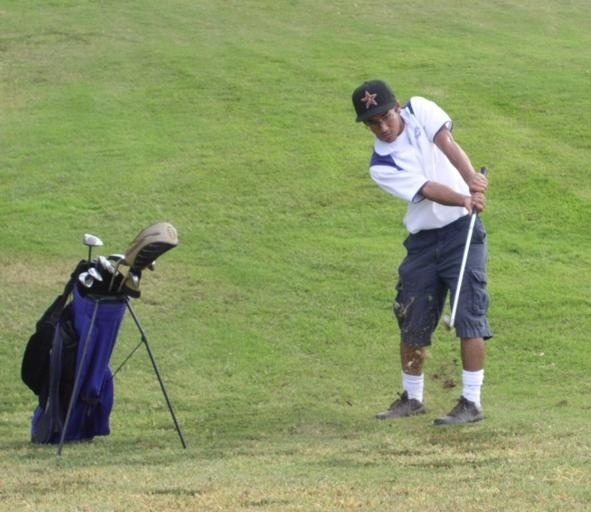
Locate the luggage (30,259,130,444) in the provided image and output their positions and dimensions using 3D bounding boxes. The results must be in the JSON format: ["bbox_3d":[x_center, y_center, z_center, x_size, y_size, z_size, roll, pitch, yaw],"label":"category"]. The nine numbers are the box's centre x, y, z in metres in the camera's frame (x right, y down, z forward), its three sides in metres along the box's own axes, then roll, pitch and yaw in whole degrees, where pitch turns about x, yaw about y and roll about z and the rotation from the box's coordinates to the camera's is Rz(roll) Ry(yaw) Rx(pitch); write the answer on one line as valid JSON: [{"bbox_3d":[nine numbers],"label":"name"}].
[{"bbox_3d":[-2.285,1.043,17.861,0.999,1.687,0.830,10,5,-41],"label":"luggage"}]

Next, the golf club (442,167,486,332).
[{"bbox_3d":[1.753,-0.070,17.269,0.203,1.723,0.228,19,-13,-6],"label":"golf club"}]

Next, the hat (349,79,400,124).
[{"bbox_3d":[0.816,-1.583,17.281,0.366,0.280,0.487,-20,23,26],"label":"hat"}]

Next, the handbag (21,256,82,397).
[{"bbox_3d":[-2.620,0.783,17.696,0.625,1.452,0.584,-12,22,-35],"label":"handbag"}]

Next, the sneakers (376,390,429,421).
[{"bbox_3d":[1.142,1.599,17.829,0.662,0.290,0.226,-3,-7,2],"label":"sneakers"}]
